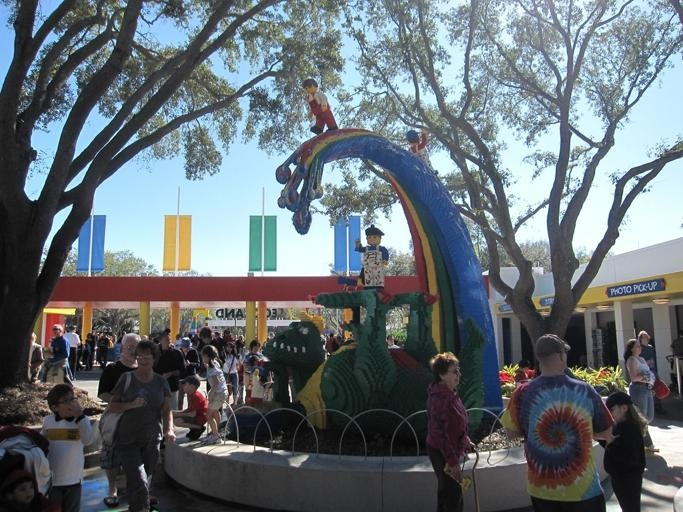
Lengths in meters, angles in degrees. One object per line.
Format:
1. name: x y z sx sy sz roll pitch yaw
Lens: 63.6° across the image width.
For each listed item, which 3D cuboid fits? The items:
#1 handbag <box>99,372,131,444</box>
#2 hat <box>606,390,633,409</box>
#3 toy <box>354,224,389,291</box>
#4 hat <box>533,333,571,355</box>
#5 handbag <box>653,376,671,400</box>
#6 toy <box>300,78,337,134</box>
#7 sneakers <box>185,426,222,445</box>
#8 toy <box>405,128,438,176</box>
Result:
1. handbag: -2.699 1.805 6.466 0.409 0.834 0.187 -4 -9 24
2. hat: 3.133 1.601 6.199 0.266 0.174 0.199 -3 -4 -31
3. toy: 0.534 0.022 9.726 0.562 1.193 0.658 -1 -9 3
4. hat: 2.106 0.871 5.435 0.253 0.182 0.393 -1 -1 39
5. handbag: 5.283 2.207 9.105 0.204 0.302 0.469 -5 -11 28
6. toy: -0.436 -2.763 10.212 0.685 1.328 0.550 -6 -10 34
7. sneakers: -2.043 2.744 8.376 0.616 0.319 0.248 11 -15 -4
8. toy: 1.553 -2.174 11.100 0.426 1.190 1.077 -2 -9 8
